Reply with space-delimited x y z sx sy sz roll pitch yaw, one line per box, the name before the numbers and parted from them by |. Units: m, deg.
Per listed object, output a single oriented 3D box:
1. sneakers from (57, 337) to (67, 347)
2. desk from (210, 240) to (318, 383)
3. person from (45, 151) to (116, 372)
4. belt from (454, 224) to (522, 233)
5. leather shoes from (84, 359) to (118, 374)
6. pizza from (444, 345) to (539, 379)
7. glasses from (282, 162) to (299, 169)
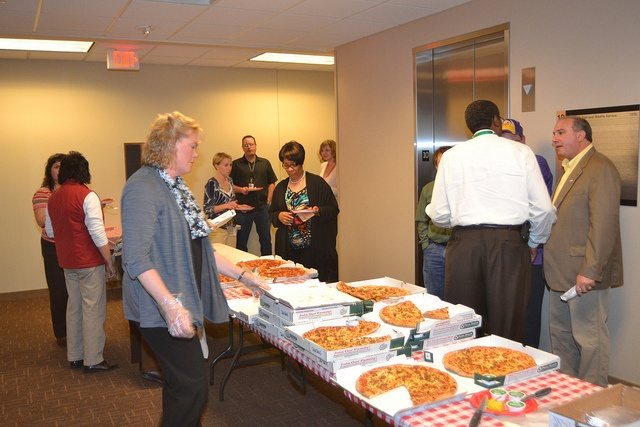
sneakers | -3.116 1.555 5.906 0.119 0.108 0.108 -3 8 -22
desk | -0.473 0.887 4.257 0.765 0.660 1.378 -5 13 -28
person | -2.526 0.540 5.147 0.563 2.331 0.578 -13 17 -35
belt | 1.360 0.113 3.906 0.541 0.084 0.126 1 14 14
leather shoes | -2.346 1.664 5.215 0.306 0.117 0.119 -2 3 -23
pizza | 1.042 0.919 3.013 0.285 0.029 0.228 -6 7 -19
glasses | -0.324 -0.548 5.453 0.180 0.058 0.184 1 1 14
